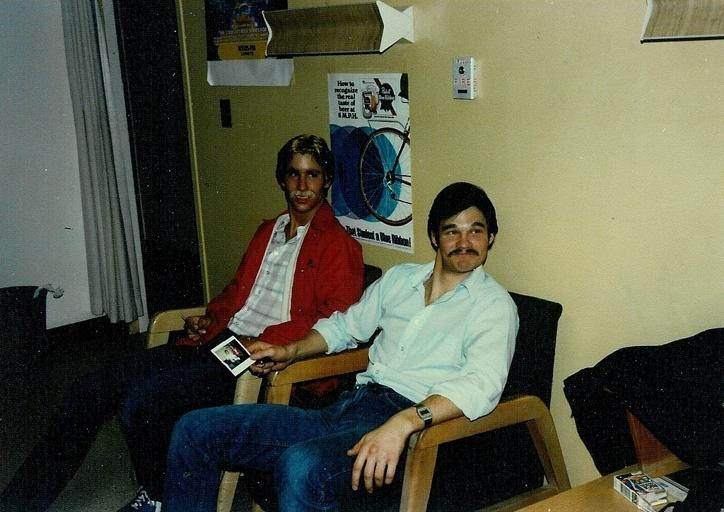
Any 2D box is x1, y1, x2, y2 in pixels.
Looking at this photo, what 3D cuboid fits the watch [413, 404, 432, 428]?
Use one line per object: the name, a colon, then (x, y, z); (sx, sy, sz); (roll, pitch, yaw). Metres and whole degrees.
watch: (0.193, 0.490, 1.756); (0.038, 0.060, 0.061); (-10, 40, -20)
